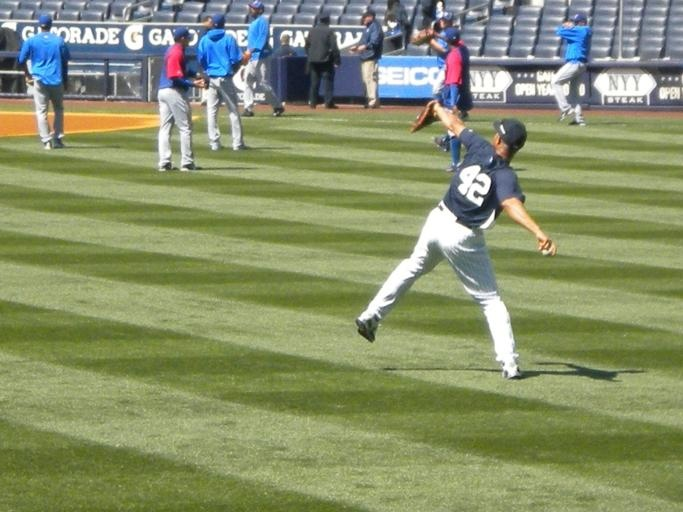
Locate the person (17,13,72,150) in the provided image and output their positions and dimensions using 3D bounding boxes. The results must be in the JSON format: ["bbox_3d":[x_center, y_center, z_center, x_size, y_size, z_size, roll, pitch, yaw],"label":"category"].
[{"bbox_3d":[-4.600,-2.538,25.290,0.745,1.752,0.778,0,11,-9],"label":"person"}]

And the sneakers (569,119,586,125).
[{"bbox_3d":[4.187,-2.366,29.138,0.128,0.116,0.306,2,8,-13],"label":"sneakers"}]

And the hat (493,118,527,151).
[{"bbox_3d":[1.582,-1.128,15.440,0.295,0.300,0.263,2,10,3],"label":"hat"}]

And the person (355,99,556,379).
[{"bbox_3d":[1.108,-0.094,15.531,1.678,2.485,0.988,5,11,15],"label":"person"}]

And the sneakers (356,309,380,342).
[{"bbox_3d":[0.252,0.673,15.776,0.189,0.364,0.149,-37,43,-2],"label":"sneakers"}]

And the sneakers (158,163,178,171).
[{"bbox_3d":[-2.485,-1.256,23.344,0.253,0.089,0.085,-7,28,-39],"label":"sneakers"}]

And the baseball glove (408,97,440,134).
[{"bbox_3d":[0.822,-1.357,16.051,0.098,0.320,0.346,41,45,4],"label":"baseball glove"}]

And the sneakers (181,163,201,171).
[{"bbox_3d":[-2.154,-1.265,23.406,0.276,0.094,0.085,-4,36,-12],"label":"sneakers"}]

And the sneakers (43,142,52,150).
[{"bbox_3d":[-4.503,-1.682,25.118,0.139,0.117,0.121,0,0,-4],"label":"sneakers"}]

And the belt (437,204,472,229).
[{"bbox_3d":[1.036,-0.376,15.421,0.108,0.203,0.354,-8,13,-43],"label":"belt"}]

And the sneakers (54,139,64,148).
[{"bbox_3d":[-4.387,-1.724,25.354,0.185,0.138,0.114,2,9,4],"label":"sneakers"}]

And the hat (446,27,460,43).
[{"bbox_3d":[1.555,-3.129,23.385,0.175,0.209,0.157,11,14,41],"label":"hat"}]

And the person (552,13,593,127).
[{"bbox_3d":[4.064,-3.301,29.094,0.611,1.933,0.757,3,11,6],"label":"person"}]

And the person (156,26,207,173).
[{"bbox_3d":[-2.312,-2.210,23.374,0.602,1.999,0.741,1,11,-5],"label":"person"}]
